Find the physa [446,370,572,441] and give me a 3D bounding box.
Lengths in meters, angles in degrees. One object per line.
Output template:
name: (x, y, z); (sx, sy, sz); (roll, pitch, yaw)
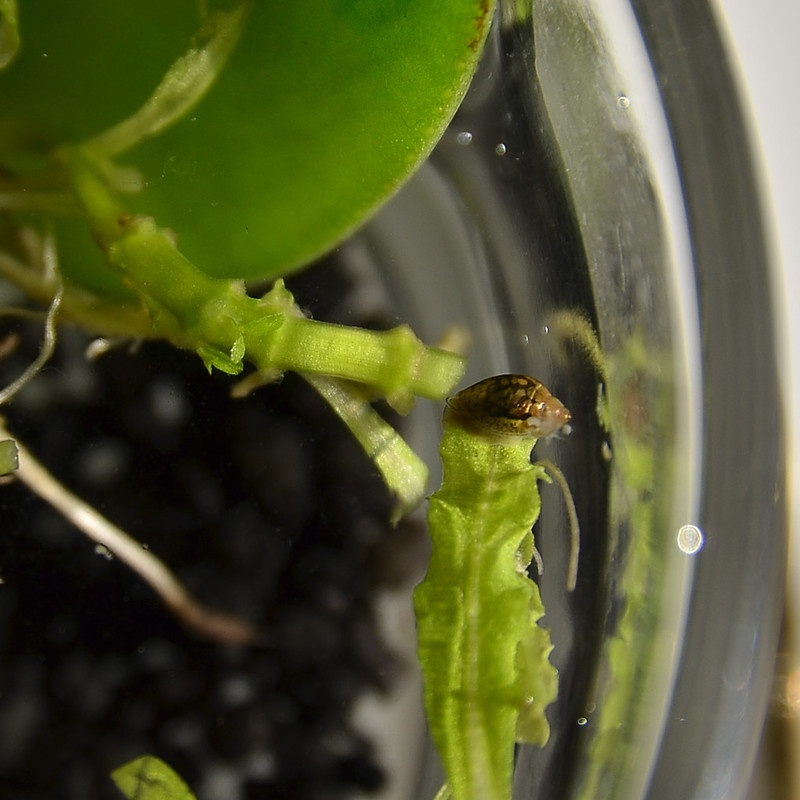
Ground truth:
physa: (0.059, -0.001, 0.552); (0.067, 0.026, 0.050); (11, 28, 38)
